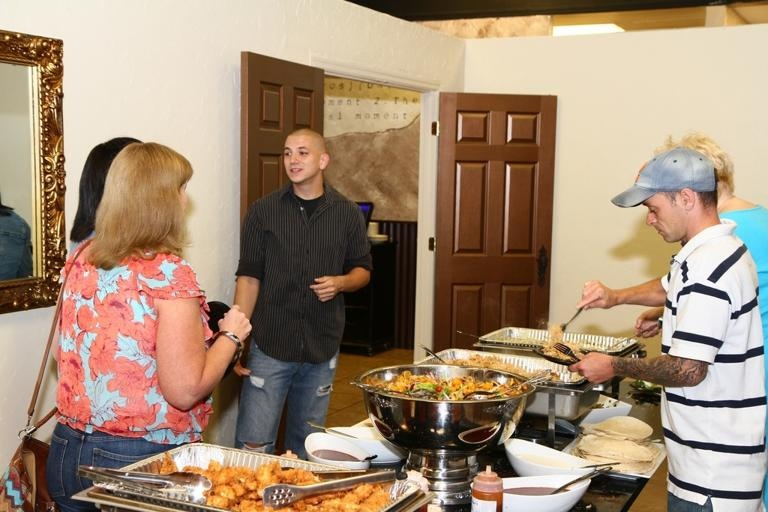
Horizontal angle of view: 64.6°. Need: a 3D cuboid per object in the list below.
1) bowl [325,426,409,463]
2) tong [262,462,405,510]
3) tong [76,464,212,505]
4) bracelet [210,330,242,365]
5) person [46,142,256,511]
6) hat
[{"bbox_3d":[-0.061,0.686,2.261,0.182,0.058,0.185,14,-10,3],"label":"bowl"},{"bbox_3d":[-0.154,0.653,1.728,0.304,0.047,0.050,-8,10,-19],"label":"tong"},{"bbox_3d":[-0.669,0.645,1.725,0.317,0.053,0.084,11,17,-6],"label":"tong"},{"bbox_3d":[-0.573,0.304,2.194,0.140,0.160,0.063,2,-20,-18],"label":"bracelet"},{"bbox_3d":[-0.833,0.252,2.094,0.672,1.261,0.279,2,3,9],"label":"person"},{"bbox_3d":[1.023,-0.282,2.223,0.304,0.157,0.193,-3,9,11],"label":"hat"}]
